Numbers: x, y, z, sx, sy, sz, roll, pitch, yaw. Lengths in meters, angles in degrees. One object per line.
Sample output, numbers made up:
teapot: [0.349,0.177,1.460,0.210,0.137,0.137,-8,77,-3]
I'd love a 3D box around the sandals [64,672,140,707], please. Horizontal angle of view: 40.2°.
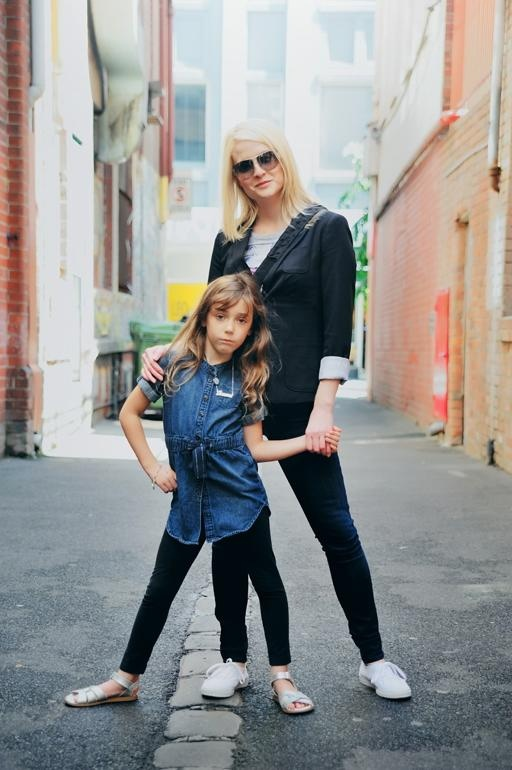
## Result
sandals: [-0.452,0.914,2.084,0.217,0.094,0.096,2,-3,-9]

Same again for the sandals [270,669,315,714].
sandals: [0.103,0.910,2.070,0.064,0.064,0.163,-5,-9,-10]

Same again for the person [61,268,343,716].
person: [-0.152,0.316,2.076,0.655,1.307,0.244,1,4,4]

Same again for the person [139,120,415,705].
person: [0.074,0.068,2.129,0.751,1.782,0.554,-2,-3,15]

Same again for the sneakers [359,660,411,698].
sneakers: [0.406,0.918,2.217,0.081,0.071,0.175,-4,-7,-24]

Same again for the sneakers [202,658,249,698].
sneakers: [-0.108,0.912,2.175,0.073,0.058,0.145,1,-10,21]
